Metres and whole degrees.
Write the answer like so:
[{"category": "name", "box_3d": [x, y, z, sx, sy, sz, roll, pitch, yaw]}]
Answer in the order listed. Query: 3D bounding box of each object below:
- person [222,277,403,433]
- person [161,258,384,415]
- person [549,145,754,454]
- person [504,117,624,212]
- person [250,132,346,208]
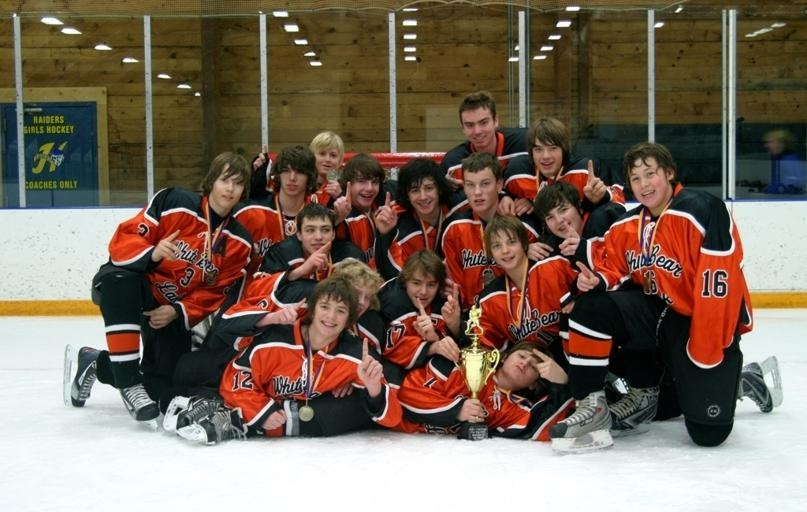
[{"category": "person", "box_3d": [-0.732, 0.842, 6.678, 1.158, 0.873, 0.633, 6, 15, -16]}, {"category": "person", "box_3d": [-0.696, 0.855, 6.713, 1.565, 1.190, 0.864, 8, 11, -1]}, {"category": "person", "box_3d": [1.966, 0.290, 6.503, 1.441, 2.359, 0.661, -1, 2, 9]}, {"category": "person", "box_3d": [1.425, -0.725, 7.718, 1.319, 0.950, 0.778, 9, 21, 29]}, {"category": "person", "box_3d": [-0.859, -0.955, 8.268, 1.175, 0.364, 0.810, 13, 27, 1]}]
